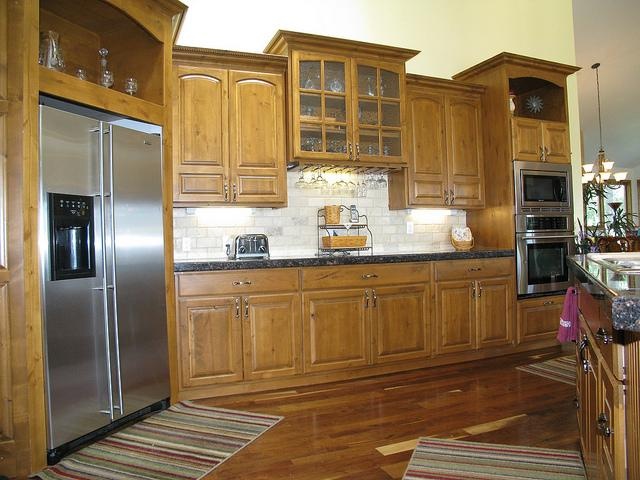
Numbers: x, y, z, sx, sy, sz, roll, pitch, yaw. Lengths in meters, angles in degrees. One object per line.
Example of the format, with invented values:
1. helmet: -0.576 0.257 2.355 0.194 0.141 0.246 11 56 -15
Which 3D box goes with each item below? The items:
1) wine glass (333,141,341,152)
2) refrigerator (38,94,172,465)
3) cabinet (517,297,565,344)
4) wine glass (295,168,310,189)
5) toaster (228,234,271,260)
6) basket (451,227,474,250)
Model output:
1. wine glass: 0.147 -0.858 4.550 0.078 0.090 0.076 -2 -1 8
2. refrigerator: -1.449 0.237 3.364 0.278 2.198 0.990 2 7 28
3. cabinet: 2.311 0.821 5.240 0.718 0.424 0.378 -4 5 -15
4. wine glass: -0.185 -0.588 4.770 0.172 0.223 0.168 0 -5 -9
5. toaster: -0.648 0.063 4.397 0.487 0.205 0.338 1 7 16
6. basket: 1.522 -0.016 5.296 0.213 0.102 0.244 0 13 -1
